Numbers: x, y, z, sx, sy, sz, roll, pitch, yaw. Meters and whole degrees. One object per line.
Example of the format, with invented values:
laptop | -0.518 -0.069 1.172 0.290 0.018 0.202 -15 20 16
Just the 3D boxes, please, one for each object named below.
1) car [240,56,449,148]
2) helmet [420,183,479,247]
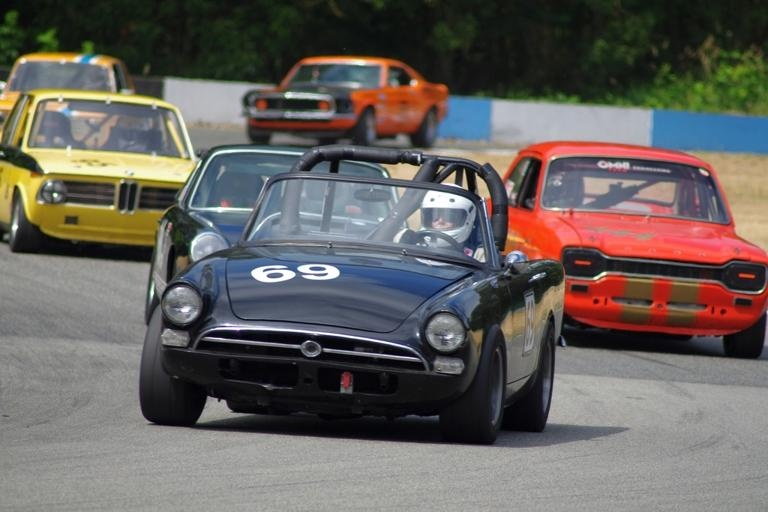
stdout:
car | -0.491 -3.731 28.320 2.591 1.795 4.996 2 1 29
helmet | 0.492 -0.312 8.560 0.515 0.465 0.423 -5 5 -41
